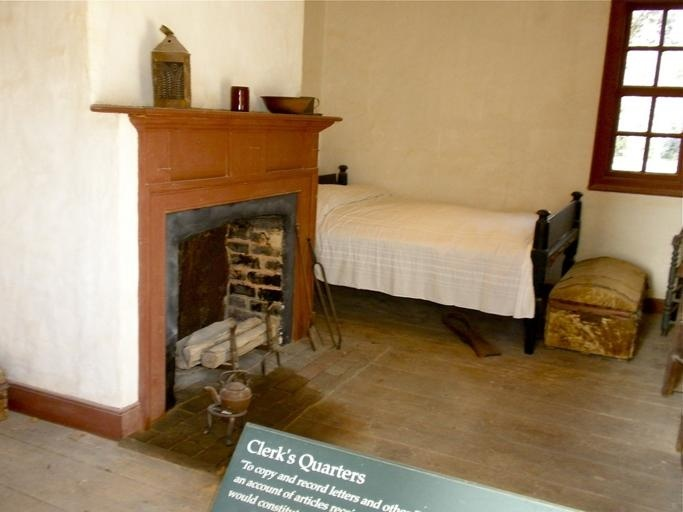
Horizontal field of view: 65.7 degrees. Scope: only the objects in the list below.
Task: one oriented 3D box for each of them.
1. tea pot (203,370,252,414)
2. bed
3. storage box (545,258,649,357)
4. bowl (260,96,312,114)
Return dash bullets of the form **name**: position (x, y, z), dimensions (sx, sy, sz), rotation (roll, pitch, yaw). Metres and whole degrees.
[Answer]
- **tea pot**: position (-0.694, 0.839, 3.179), dimensions (0.397, 0.241, 0.221), rotation (2, 13, 4)
- **bed**: position (0.924, -0.174, 5.447), dimensions (2.862, 0.873, 1.565), rotation (11, 28, 31)
- **storage box**: position (2.206, 0.426, 4.565), dimensions (0.949, 0.480, 1.144), rotation (4, 15, 25)
- **bowl**: position (-0.370, -1.090, 3.829), dimensions (0.397, 0.131, 0.274), rotation (-5, 19, -19)
